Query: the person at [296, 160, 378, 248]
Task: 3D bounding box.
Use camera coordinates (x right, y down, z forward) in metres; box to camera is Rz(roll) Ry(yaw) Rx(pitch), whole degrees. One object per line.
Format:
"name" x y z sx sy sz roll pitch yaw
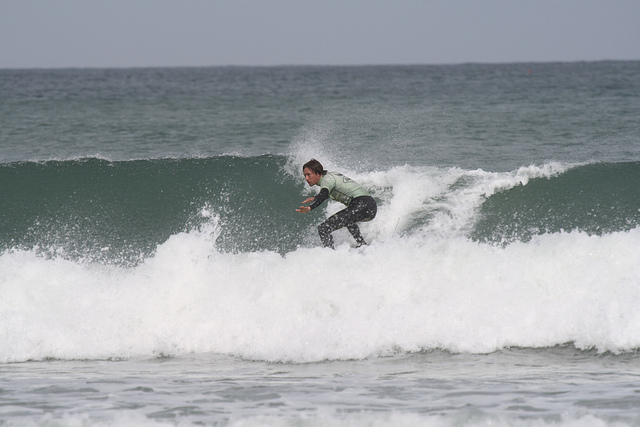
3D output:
"person" 0.358 -0.147 20.130 1.439 1.549 0.576 4 -12 -12
